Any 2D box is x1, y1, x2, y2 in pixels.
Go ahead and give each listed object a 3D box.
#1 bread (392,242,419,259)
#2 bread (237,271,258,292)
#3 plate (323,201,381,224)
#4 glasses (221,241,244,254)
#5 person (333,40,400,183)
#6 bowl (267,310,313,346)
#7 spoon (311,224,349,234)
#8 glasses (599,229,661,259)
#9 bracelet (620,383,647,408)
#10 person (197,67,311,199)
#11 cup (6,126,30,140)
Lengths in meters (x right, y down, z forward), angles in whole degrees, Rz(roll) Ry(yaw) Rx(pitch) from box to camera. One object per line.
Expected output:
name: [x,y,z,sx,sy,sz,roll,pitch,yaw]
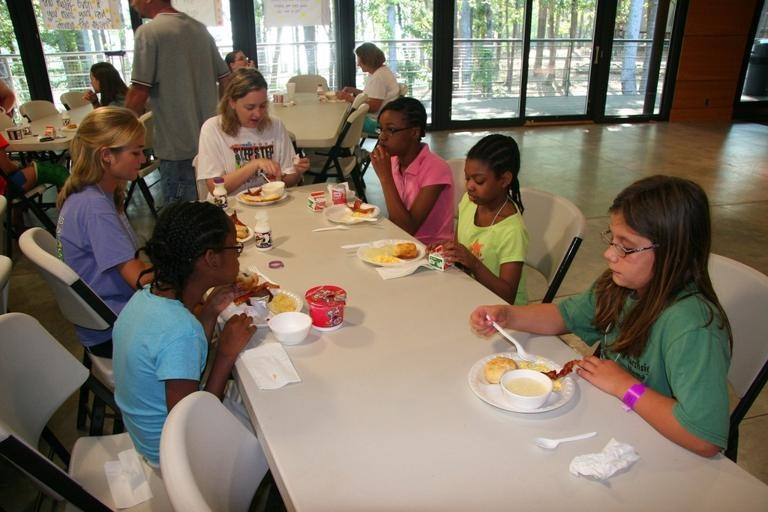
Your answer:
bread: [0.096,-0.022,2.149,0.081,0.040,0.079,0,24,3]
bread: [-0.526,0.095,1.911,0.069,0.020,0.063,0,46,-13]
plate: [-0.162,-0.219,2.595,0.173,0.025,0.167,-17,36,-28]
glasses: [-0.535,-0.029,1.753,0.067,0.021,0.062,2,16,2]
person: [-0.139,-1.874,6.180,0.886,1.508,0.756,3,31,9]
bowl: [-0.297,0.263,1.756,0.174,0.086,0.167,-5,9,1]
spoon: [-0.267,-0.136,2.483,0.178,0.021,0.033,-7,41,-21]
glasses: [0.803,-0.027,1.590,0.106,0.031,0.102,-12,31,-11]
bracelet: [0.732,0.410,1.456,0.045,0.067,0.067,32,-22,-14]
person: [-0.831,-0.696,3.203,0.665,0.926,0.607,0,42,-22]
cup: [-3.037,-1.020,4.131,0.130,0.062,0.175,-2,10,-13]
